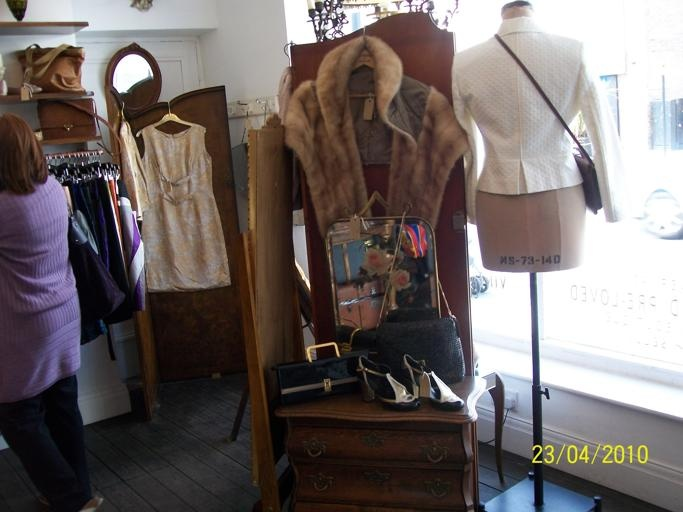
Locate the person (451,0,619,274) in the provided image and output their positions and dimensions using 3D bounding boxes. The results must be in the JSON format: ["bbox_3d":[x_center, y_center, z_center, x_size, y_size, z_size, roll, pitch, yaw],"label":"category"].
[{"bbox_3d":[0.913,-0.552,2.666,0.771,1.228,0.238,-3,12,3],"label":"person"}]

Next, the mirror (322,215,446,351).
[{"bbox_3d":[0.216,0.126,2.732,0.539,0.824,0.081,-3,5,5],"label":"mirror"}]

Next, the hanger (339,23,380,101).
[{"bbox_3d":[0.098,-0.918,2.824,0.139,0.372,0.088,-2,12,4],"label":"hanger"}]

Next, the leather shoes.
[{"bbox_3d":[0.378,0.552,2.526,0.343,0.158,0.123,33,39,27],"label":"leather shoes"}]

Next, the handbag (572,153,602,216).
[{"bbox_3d":[1.122,-0.341,2.699,0.062,0.242,0.177,-5,12,3],"label":"handbag"}]

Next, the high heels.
[{"bbox_3d":[0.182,0.537,2.504,0.315,0.206,0.120,15,23,35],"label":"high heels"}]
